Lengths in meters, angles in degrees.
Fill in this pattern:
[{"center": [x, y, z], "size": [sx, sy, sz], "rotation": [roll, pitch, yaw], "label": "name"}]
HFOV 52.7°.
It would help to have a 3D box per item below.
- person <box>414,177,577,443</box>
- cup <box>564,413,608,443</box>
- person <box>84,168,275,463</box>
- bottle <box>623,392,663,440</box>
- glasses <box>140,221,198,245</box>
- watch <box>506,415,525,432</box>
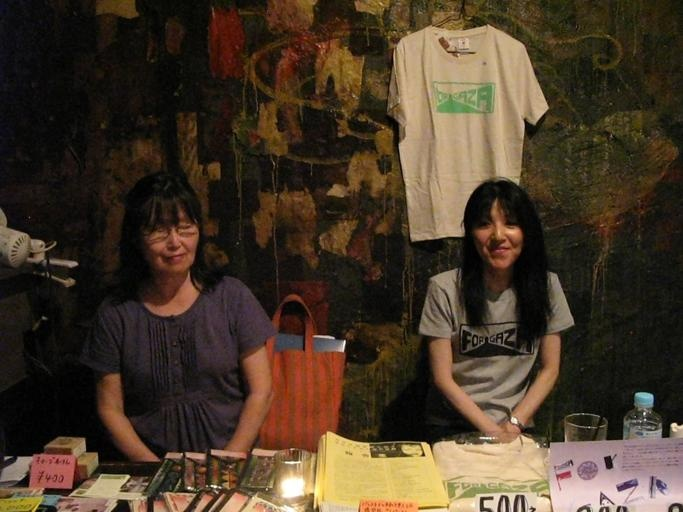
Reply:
[{"center": [0.783, 0.252, 3.517], "size": [0.782, 1.322, 0.329], "rotation": [-1, 0, 10], "label": "person"}, {"center": [1.047, 0.747, 3.001], "size": [0.158, 0.123, 0.148], "rotation": [-3, -4, 0], "label": "cup"}, {"center": [-0.803, 0.291, 3.413], "size": [0.928, 1.382, 0.239], "rotation": [-1, 0, -7], "label": "person"}, {"center": [1.261, 0.681, 2.914], "size": [0.144, 0.202, 0.266], "rotation": [-1, -1, 22], "label": "bottle"}, {"center": [-0.828, -0.110, 3.337], "size": [0.251, 0.101, 0.069], "rotation": [-1, 0, -17], "label": "glasses"}, {"center": [0.858, 0.828, 3.406], "size": [0.055, 0.087, 0.088], "rotation": [-45, 16, -17], "label": "watch"}]
